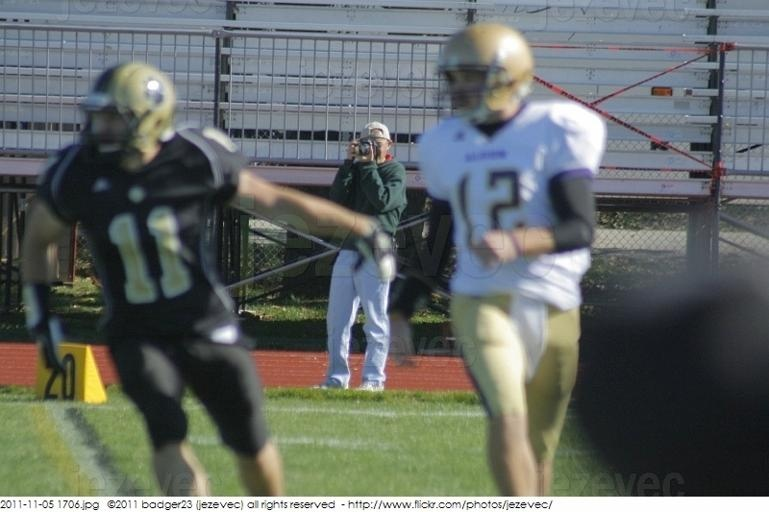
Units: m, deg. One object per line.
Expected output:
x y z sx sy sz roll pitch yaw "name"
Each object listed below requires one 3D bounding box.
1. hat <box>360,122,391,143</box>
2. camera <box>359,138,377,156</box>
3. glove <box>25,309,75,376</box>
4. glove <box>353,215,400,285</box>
-0.071 -1.110 16.656 0.177 0.127 0.231 2 -3 -2 "hat"
-0.141 -0.963 16.556 0.165 0.158 0.134 1 -7 -8 "camera"
-2.434 0.596 14.148 0.265 0.627 0.215 -13 4 40 "glove"
-0.028 -0.071 14.177 0.192 0.561 0.248 -18 10 7 "glove"
